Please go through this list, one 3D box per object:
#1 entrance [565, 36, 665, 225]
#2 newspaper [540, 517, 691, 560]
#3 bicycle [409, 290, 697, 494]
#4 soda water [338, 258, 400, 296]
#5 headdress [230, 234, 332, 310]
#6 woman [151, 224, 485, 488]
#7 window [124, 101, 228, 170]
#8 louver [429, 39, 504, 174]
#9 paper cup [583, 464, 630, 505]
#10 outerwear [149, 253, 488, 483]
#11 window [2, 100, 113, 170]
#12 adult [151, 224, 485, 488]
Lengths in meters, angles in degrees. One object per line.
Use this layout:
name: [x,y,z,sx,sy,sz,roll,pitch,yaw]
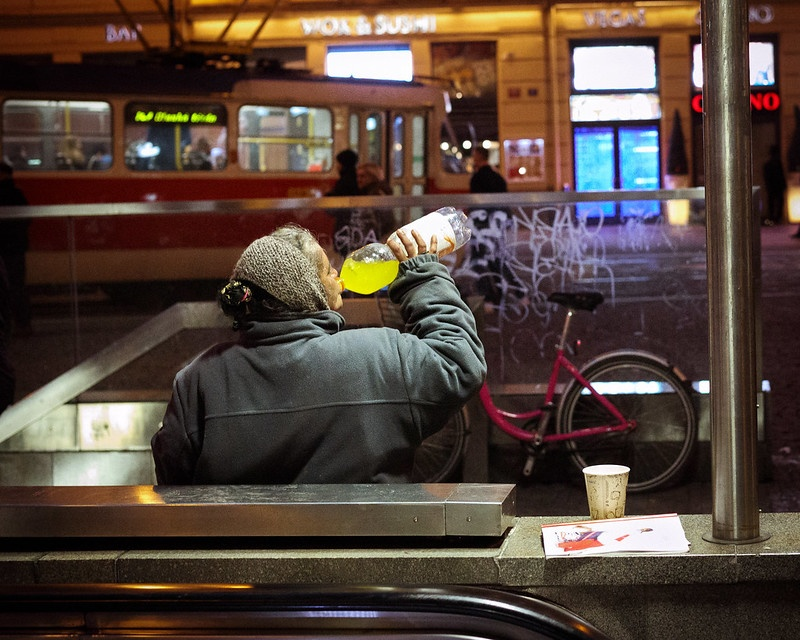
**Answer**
entrance: [3.167,-3.049,14.368,1.304,2.217,1.167,-2,5,14]
newspaper: [0.720,0.730,3.303,0.477,0.058,0.318,-4,5,4]
bicycle: [1.047,0.595,6.998,1.993,1.339,1.033,-1,-3,7]
soda water: [-0.092,-0.171,3.753,0.166,0.148,0.134,-1,28,45]
headdress: [-0.432,-0.162,3.483,0.332,0.280,0.137,-4,5,-8]
woman: [-0.332,0.256,3.693,1.258,1.164,0.680,0,8,11]
window: [-2.946,-2.415,12.847,1.445,0.949,0.030,-8,15,-40]
louver: [0.988,-3.526,15.176,0.803,1.747,0.894,-2,7,-12]
paper cup: [0.775,0.616,3.682,0.133,0.119,0.147,0,-6,-18]
outerwear: [-0.322,0.306,3.655,1.137,1.127,0.625,-3,8,11]
window: [-4.328,-2.355,12.374,1.335,0.915,0.324,-5,5,-18]
adult: [-0.340,0.253,3.704,1.266,1.168,0.698,0,9,5]
